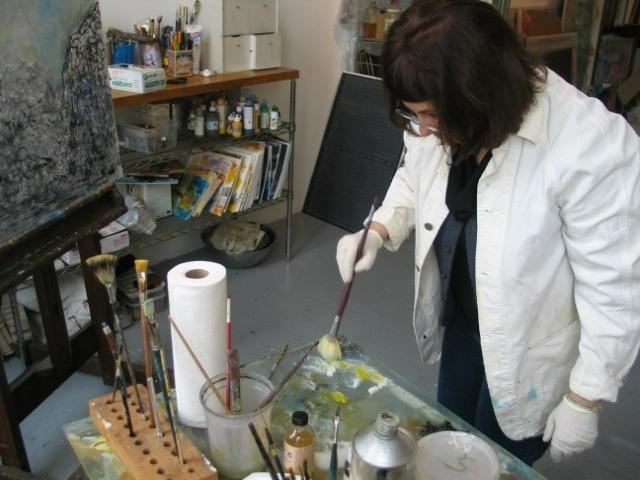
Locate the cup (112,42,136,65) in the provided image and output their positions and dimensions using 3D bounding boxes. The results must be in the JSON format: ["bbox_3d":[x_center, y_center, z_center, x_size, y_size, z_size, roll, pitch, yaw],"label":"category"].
[{"bbox_3d":[-1.044,-0.976,2.658,0.101,0.105,0.171,0,23,1],"label":"cup"}]

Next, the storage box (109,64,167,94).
[{"bbox_3d":[-0.908,-0.791,2.501,0.235,0.113,0.157,8,25,21],"label":"storage box"}]

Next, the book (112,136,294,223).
[{"bbox_3d":[-0.697,-0.294,3.213,1.172,0.473,0.495,-14,5,-35],"label":"book"}]

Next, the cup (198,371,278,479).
[{"bbox_3d":[-0.185,0.453,1.277,0.199,0.237,0.220,-6,35,-8],"label":"cup"}]

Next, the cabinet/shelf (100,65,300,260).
[{"bbox_3d":[-0.689,-0.437,2.837,0.896,0.918,0.346,-26,42,-34],"label":"cabinet/shelf"}]

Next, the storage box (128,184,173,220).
[{"bbox_3d":[-0.945,-0.236,2.842,0.236,0.225,0.154,-12,24,-25],"label":"storage box"}]

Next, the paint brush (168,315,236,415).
[{"bbox_3d":[-0.297,0.315,1.278,0.033,0.311,0.014,-28,6,17],"label":"paint brush"}]

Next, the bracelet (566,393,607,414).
[{"bbox_3d":[0.724,0.440,1.371,0.060,0.021,0.063,21,-4,-6],"label":"bracelet"}]

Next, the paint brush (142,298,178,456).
[{"bbox_3d":[-0.439,0.384,1.386,0.038,0.538,0.042,-9,17,-13],"label":"paint brush"}]

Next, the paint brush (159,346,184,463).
[{"bbox_3d":[-0.376,0.423,1.281,0.033,0.290,0.013,-11,-3,38],"label":"paint brush"}]

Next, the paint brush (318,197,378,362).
[{"bbox_3d":[0.145,0.212,2.593,0.142,0.941,0.148,16,3,1],"label":"paint brush"}]

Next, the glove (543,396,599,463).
[{"bbox_3d":[0.683,0.524,1.416,0.132,0.189,0.049,35,26,7],"label":"glove"}]
